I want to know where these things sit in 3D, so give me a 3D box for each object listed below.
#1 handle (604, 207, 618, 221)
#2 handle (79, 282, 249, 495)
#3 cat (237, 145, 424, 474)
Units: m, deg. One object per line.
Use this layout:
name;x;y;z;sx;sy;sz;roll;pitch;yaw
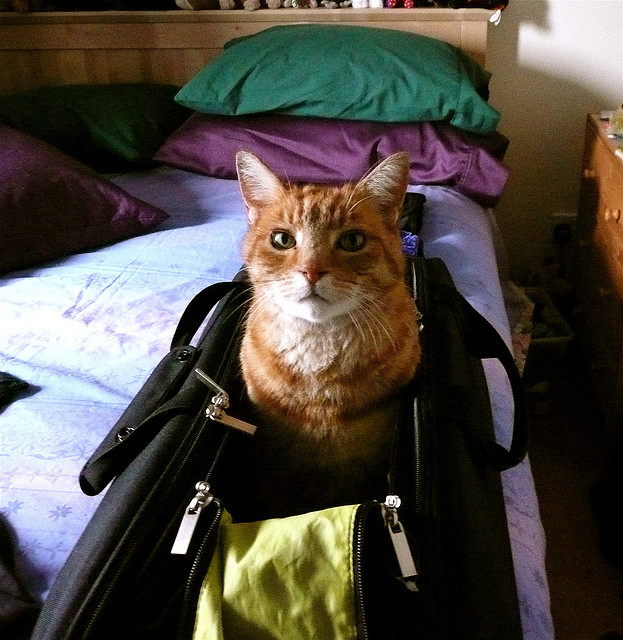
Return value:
handle;0.744;-0.268;1.476;0.044;0.037;0.017;5;-10;24
handle;-0.201;0.090;0.795;0.166;0.035;0.276;20;46;27
cat;0.024;-0.035;0.829;0.207;0.280;0.475;7;72;-12
